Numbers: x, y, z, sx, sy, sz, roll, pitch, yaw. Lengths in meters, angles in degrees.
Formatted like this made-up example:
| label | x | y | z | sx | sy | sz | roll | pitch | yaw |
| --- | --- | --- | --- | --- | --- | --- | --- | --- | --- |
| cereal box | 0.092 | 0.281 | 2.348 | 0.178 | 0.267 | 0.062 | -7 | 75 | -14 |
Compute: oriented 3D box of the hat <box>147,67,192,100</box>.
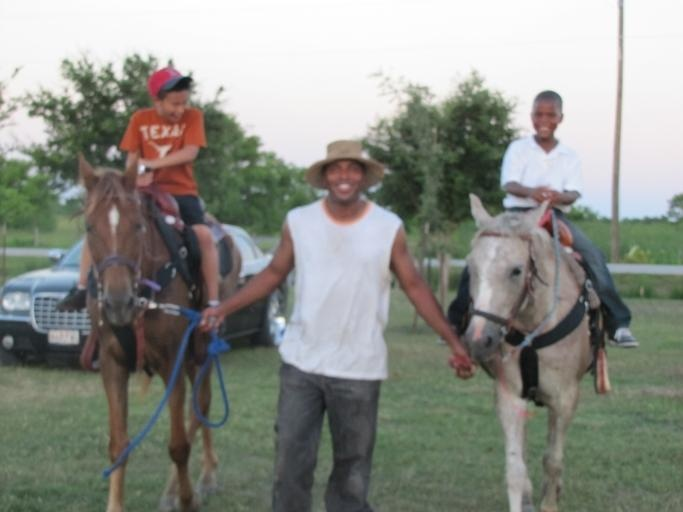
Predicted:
| label | x | y | z | sx | sy | sz | roll | pitch | yaw |
| --- | --- | --- | --- | --- | --- | --- | --- | --- | --- |
| hat | -1.954 | -1.972 | 11.854 | 0.604 | 0.279 | 0.446 | -1 | 3 | 44 |

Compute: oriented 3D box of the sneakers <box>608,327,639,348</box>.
| label | x | y | z | sx | sy | sz | roll | pitch | yaw |
| --- | --- | --- | --- | --- | --- | --- | --- | --- | --- |
| sneakers | 3.271 | 0.941 | 11.955 | 0.310 | 0.267 | 0.516 | 0 | 0 | 13 |

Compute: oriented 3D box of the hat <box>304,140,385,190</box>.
| label | x | y | z | sx | sy | sz | roll | pitch | yaw |
| --- | --- | --- | --- | --- | --- | --- | --- | --- | --- |
| hat | 0.049 | -0.941 | 10.517 | 0.866 | 0.309 | 0.776 | 1 | -15 | -19 |

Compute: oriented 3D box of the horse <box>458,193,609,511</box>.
| label | x | y | z | sx | sy | sz | roll | pitch | yaw |
| --- | --- | --- | --- | --- | --- | --- | --- | --- | --- |
| horse | 2.048 | 1.121 | 11.218 | 0.691 | 2.451 | 1.945 | 0 | 0 | 43 |
